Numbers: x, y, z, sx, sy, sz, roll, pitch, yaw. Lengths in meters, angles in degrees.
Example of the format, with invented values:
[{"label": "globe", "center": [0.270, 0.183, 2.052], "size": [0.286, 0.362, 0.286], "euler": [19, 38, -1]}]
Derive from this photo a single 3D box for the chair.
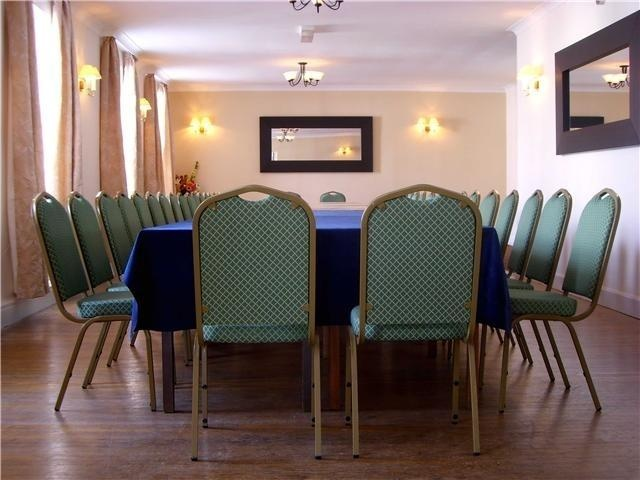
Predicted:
[{"label": "chair", "center": [0.419, 0.310, 2.806], "size": [2.489, 1.242, 0.958], "euler": [-4, 12, -19]}]
